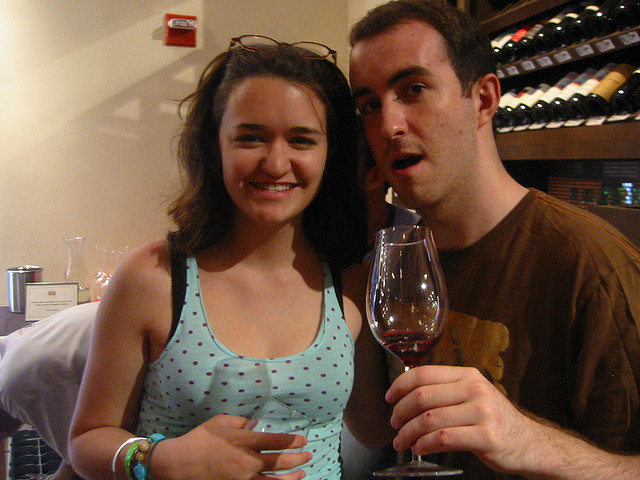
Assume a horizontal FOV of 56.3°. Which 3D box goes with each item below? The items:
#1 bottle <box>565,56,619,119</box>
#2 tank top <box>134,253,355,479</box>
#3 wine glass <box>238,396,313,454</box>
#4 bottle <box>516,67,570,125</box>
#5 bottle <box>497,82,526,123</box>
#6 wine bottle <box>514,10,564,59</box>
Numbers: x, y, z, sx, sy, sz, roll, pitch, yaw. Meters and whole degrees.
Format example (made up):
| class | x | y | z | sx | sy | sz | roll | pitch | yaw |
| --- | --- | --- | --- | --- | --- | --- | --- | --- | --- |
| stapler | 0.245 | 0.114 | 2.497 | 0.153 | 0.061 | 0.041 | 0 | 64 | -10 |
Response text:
| class | x | y | z | sx | sy | sz | roll | pitch | yaw |
| --- | --- | --- | --- | --- | --- | --- | --- | --- | --- |
| bottle | 1.386 | -0.795 | 3.016 | 0.138 | 0.118 | 0.494 | 17 | 23 | -8 |
| tank top | -0.217 | 0.463 | 2.158 | 0.623 | 0.804 | 0.676 | -3 | 14 | -32 |
| wine glass | -0.141 | 0.544 | 1.732 | 0.261 | 0.136 | 0.140 | -8 | -46 | 45 |
| bottle | 1.202 | -0.765 | 3.199 | 0.113 | 0.485 | 0.114 | 40 | -15 | 13 |
| bottle | 1.107 | -0.764 | 3.464 | 0.089 | 0.084 | 0.375 | 27 | -2 | 14 |
| wine bottle | 1.159 | -1.092 | 3.172 | 0.196 | 0.216 | 0.162 | -4 | 13 | -2 |
